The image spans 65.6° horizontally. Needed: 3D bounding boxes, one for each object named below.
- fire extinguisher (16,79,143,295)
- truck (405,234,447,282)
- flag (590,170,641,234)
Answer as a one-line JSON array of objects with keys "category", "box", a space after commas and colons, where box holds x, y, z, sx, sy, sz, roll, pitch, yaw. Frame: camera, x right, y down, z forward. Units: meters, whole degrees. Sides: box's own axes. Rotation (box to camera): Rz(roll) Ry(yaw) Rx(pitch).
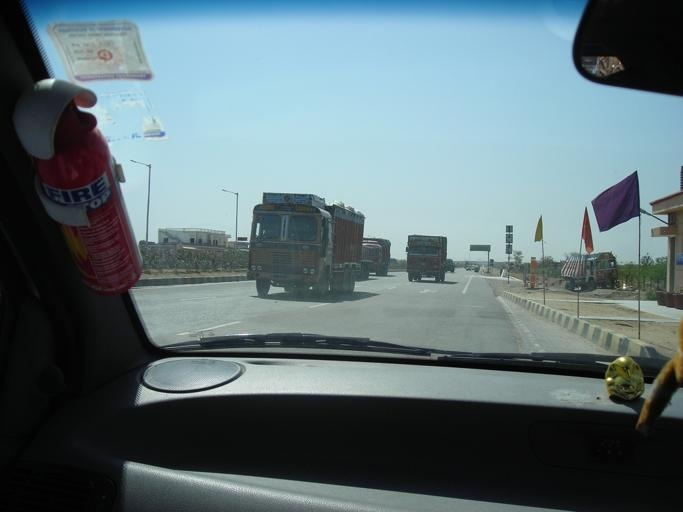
[{"category": "fire extinguisher", "box": [-1.284, -0.301, 2.621, 0.339, 1.112, 0.395, 16, 45, 13]}, {"category": "truck", "box": [6.394, 0.232, 38.683, 2.100, 3.257, 3.187, 0, -2, 36]}, {"category": "flag", "box": [1.780, -0.324, 3.408, 0.259, 0.336, 0.362, 1, -2, 28]}]
